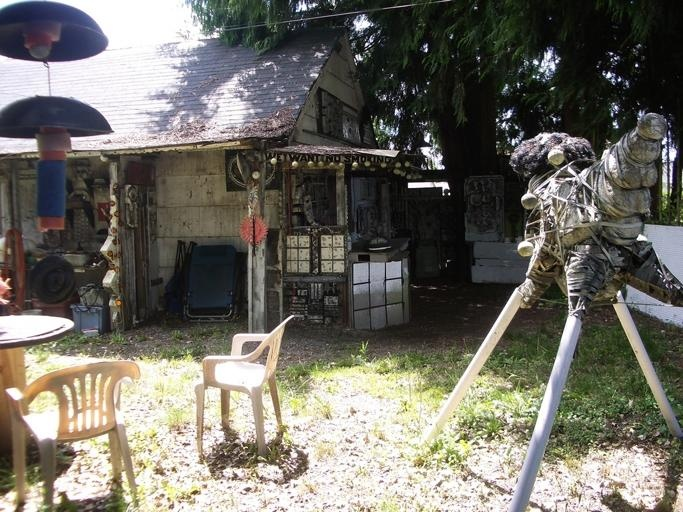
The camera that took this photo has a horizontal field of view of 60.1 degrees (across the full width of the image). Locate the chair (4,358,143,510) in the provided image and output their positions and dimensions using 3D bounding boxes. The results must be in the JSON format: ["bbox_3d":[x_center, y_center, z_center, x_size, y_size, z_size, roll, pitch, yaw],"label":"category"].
[{"bbox_3d":[-2.538,1.444,5.867,1.190,1.877,1.229,-1,4,-42],"label":"chair"}]

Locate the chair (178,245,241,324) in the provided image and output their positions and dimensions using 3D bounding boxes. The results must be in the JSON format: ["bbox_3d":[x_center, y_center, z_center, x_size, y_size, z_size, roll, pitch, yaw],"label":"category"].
[{"bbox_3d":[-2.506,0.514,11.390,0.941,1.334,0.471,-1,12,6],"label":"chair"}]

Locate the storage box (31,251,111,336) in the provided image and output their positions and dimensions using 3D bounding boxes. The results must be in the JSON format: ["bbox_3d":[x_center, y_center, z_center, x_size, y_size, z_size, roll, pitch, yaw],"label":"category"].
[{"bbox_3d":[-5.024,0.651,11.093,1.083,1.961,1.772,0,4,9],"label":"storage box"}]

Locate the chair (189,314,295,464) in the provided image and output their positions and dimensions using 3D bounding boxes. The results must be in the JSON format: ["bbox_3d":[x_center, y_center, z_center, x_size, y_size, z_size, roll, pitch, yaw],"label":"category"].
[{"bbox_3d":[-1.191,1.441,6.873,1.141,1.901,1.269,2,-1,2],"label":"chair"}]

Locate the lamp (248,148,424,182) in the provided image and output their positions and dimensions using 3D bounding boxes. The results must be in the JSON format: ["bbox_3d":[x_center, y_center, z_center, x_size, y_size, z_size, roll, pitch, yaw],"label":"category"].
[{"bbox_3d":[0.021,-1.614,10.285,2.631,0.660,1.413,-3,14,1],"label":"lamp"}]
